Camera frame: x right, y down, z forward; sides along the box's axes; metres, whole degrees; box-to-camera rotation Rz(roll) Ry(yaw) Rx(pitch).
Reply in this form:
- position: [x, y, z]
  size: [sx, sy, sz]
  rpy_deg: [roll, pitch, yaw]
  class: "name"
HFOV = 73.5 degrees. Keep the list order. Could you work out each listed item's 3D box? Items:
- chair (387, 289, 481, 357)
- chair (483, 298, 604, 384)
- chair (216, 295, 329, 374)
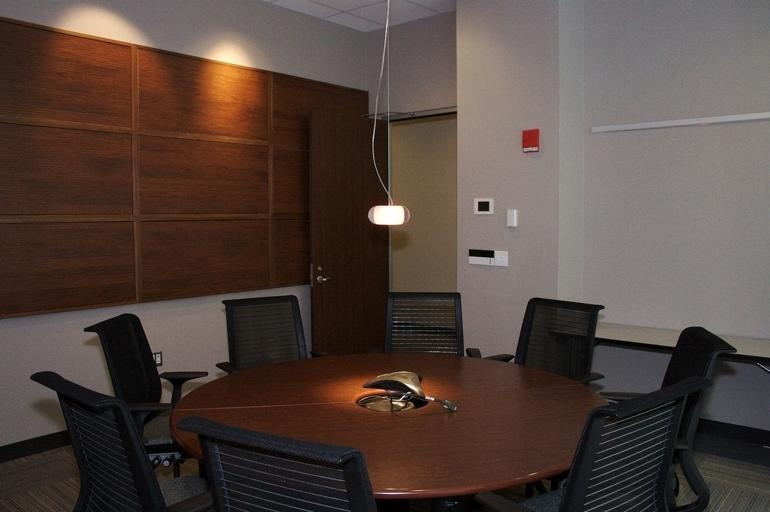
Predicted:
- position: [0.399, 0.530, 4.380]
  size: [0.579, 0.724, 0.549]
  rpy_deg: [0, 1, 2]
  class: "chair"
- position: [1.359, 0.576, 4.090]
  size: [0.714, 0.940, 0.703]
  rpy_deg: [1, -8, 41]
  class: "chair"
- position: [-0.991, 0.564, 4.359]
  size: [0.670, 0.880, 0.644]
  rpy_deg: [-3, 0, -26]
  class: "chair"
